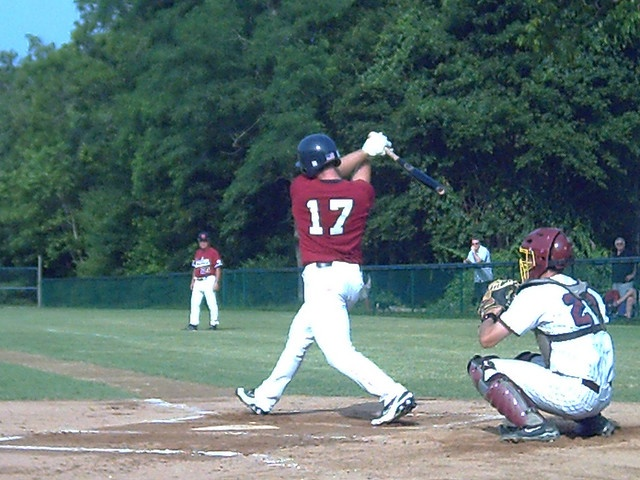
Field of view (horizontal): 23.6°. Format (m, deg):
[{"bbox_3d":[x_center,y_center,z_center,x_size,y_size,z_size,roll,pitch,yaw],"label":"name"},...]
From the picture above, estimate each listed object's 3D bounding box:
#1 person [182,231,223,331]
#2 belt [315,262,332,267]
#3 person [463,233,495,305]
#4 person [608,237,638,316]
[{"bbox_3d":[-3.835,1.271,49.326,1.060,3.357,1.037,2,6,-17],"label":"person"},{"bbox_3d":[0.050,0.631,38.471,0.394,0.126,0.045,-1,-5,11],"label":"belt"},{"bbox_3d":[5.303,1.029,51.547,1.109,3.174,1.151,12,-25,-23],"label":"person"},{"bbox_3d":[9.867,1.255,49.850,0.590,2.637,0.699,1,8,-7],"label":"person"}]
